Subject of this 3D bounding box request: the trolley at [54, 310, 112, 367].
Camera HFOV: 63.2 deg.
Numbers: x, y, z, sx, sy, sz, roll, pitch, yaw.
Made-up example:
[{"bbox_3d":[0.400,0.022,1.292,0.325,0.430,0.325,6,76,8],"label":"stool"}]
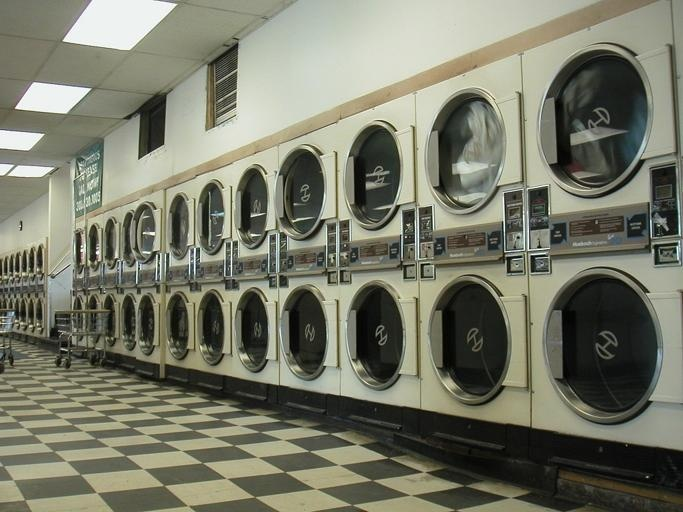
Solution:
[{"bbox_3d":[-4.097,1.180,8.991,0.728,0.765,0.610,4,12,-14],"label":"trolley"}]
